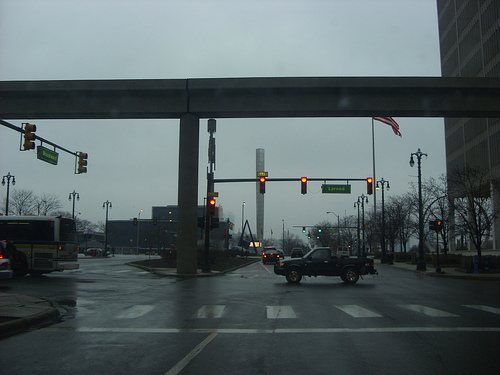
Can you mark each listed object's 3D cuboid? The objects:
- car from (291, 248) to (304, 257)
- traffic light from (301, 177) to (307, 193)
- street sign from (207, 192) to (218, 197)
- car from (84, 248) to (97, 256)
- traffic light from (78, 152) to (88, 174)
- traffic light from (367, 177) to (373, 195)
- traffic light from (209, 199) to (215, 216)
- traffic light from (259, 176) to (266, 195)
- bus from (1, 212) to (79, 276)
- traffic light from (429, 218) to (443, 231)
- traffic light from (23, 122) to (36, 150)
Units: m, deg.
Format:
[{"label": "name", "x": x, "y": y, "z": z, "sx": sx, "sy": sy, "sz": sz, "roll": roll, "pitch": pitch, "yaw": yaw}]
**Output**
[{"label": "car", "x": 4.646, "y": 6.292, "z": 58.674, "sx": 0.964, "sy": 1.093, "sz": 2.183, "roll": -1, "pitch": -11, "yaw": 3}, {"label": "traffic light", "x": 3.779, "y": -0.183, "z": 42.070, "sx": 0.314, "sy": 1.061, "sz": 0.377, "roll": -1, "pitch": -8, "yaw": -3}, {"label": "street sign", "x": -2.583, "y": 0.453, "z": 41.961, "sx": 0.662, "sy": 0.346, "sz": 0.862, "roll": -2, "pitch": -10, "yaw": 2}, {"label": "car", "x": -24.365, "y": 9.811, "z": 92.237, "sx": 1.343, "sy": 1.229, "sz": 2.311, "roll": 1, "pitch": -14, "yaw": -7}, {"label": "traffic light", "x": -9.444, "y": -1.332, "z": 34.071, "sx": 0.430, "sy": 1.337, "sz": 2.109, "roll": 1, "pitch": -10, "yaw": -17}, {"label": "traffic light", "x": 8.325, "y": -0.136, "z": 41.967, "sx": 0.356, "sy": 1.249, "sz": 1.409, "roll": -3, "pitch": -9, "yaw": 9}, {"label": "traffic light", "x": -2.575, "y": 1.295, "z": 41.131, "sx": 0.382, "sy": 1.195, "sz": 0.879, "roll": -1, "pitch": -8, "yaw": -3}, {"label": "traffic light", "x": 0.912, "y": -0.308, "z": 41.546, "sx": 0.385, "sy": 1.188, "sz": 1.073, "roll": -2, "pitch": -8, "yaw": 1}, {"label": "bus", "x": -11.543, "y": 3.020, "z": 33.503, "sx": 5.391, "sy": 2.937, "sz": 2.189, "roll": 2, "pitch": -3, "yaw": 9}, {"label": "traffic light", "x": 13.616, "y": 2.674, "z": 43.982, "sx": 0.741, "sy": 0.764, "sz": 0.896, "roll": 3, "pitch": -5, "yaw": -33}, {"label": "traffic light", "x": -10.763, "y": -2.450, "z": 29.410, "sx": 0.539, "sy": 1.525, "sz": 1.545, "roll": 2, "pitch": -9, "yaw": -21}]
